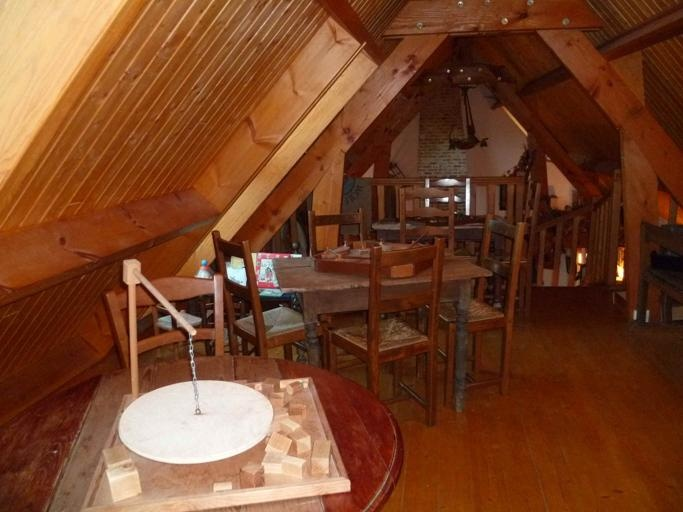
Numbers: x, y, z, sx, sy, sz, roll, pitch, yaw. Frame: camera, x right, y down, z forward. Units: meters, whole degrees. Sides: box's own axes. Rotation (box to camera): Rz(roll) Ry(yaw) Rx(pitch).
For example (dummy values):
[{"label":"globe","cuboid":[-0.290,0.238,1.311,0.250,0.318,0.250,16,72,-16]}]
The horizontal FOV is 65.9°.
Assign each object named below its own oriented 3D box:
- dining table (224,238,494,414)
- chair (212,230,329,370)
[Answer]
[{"label":"dining table","cuboid":[0.133,0.184,2.732,1.012,0.698,1.076,-1,11,-9]},{"label":"chair","cuboid":[-0.412,0.246,2.955,0.543,0.983,0.520,-15,30,-26]}]
